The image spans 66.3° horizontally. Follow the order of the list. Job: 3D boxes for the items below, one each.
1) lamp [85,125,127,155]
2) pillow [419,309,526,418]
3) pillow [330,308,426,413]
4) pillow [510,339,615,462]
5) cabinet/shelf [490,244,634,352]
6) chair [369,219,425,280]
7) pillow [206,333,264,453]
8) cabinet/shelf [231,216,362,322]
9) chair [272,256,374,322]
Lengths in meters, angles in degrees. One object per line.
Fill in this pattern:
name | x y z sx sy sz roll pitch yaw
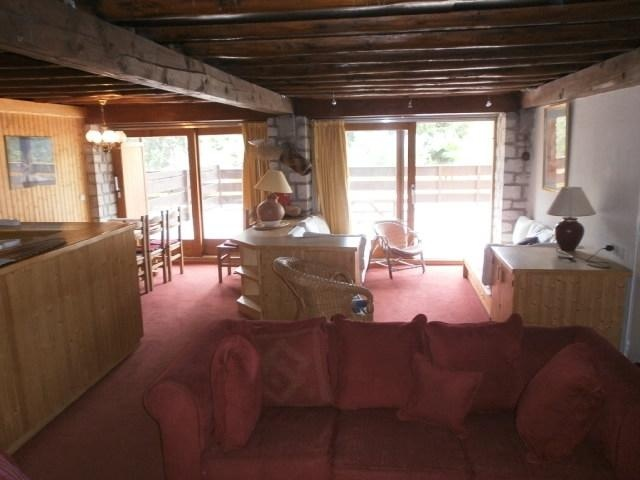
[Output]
lamp | -3.304 -1.564 7.520 0.563 0.320 0.517 8 19 20
pillow | 1.049 0.783 3.174 0.680 0.549 0.271 -5 0 6
pillow | 0.383 0.831 3.251 0.768 0.582 0.200 -2 3 3
pillow | 1.441 0.968 2.929 0.562 0.570 0.308 -4 13 -18
cabinet/shelf | 2.187 0.453 4.858 1.210 0.962 1.088 1 7 9
chair | 1.173 0.096 7.399 0.699 0.698 0.775 9 14 39
pillow | -0.568 0.978 3.091 0.243 0.641 0.389 -19 -24 16
cabinet/shelf | -0.277 0.259 5.510 1.253 0.566 1.489 2 7 11
chair | 0.042 0.467 4.347 0.822 0.595 0.650 -1 5 -3
